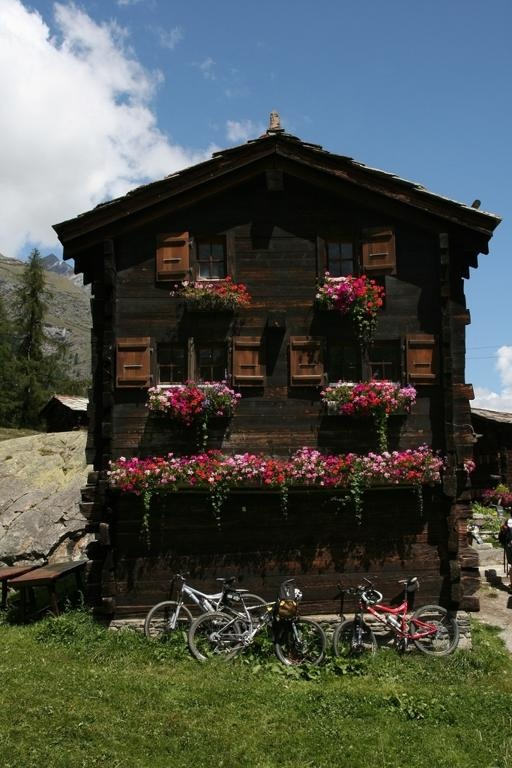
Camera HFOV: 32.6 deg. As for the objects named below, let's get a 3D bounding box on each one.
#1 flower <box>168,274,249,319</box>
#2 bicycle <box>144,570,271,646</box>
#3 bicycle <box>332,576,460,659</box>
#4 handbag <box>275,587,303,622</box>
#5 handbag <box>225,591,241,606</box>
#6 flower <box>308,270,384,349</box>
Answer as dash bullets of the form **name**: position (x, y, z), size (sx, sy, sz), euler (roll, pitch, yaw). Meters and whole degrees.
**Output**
- **flower**: position (-0.760, -1.535, 15.032), size (1.342, 0.654, 0.466), euler (3, 7, -6)
- **bicycle**: position (-0.799, 3.544, 14.001), size (1.924, 1.086, 0.944), euler (0, -29, -6)
- **bicycle**: position (2.155, 3.777, 14.078), size (2.175, 1.258, 1.052), euler (1, -33, -17)
- **handbag**: position (0.496, 3.358, 13.366), size (0.389, 0.489, 0.260), euler (1, 8, -21)
- **handbag**: position (-0.386, 3.393, 13.855), size (0.221, 0.305, 0.113), euler (1, 18, -1)
- **flower**: position (1.528, -1.361, 15.161), size (1.104, 1.167, 0.731), euler (1, -26, -27)
